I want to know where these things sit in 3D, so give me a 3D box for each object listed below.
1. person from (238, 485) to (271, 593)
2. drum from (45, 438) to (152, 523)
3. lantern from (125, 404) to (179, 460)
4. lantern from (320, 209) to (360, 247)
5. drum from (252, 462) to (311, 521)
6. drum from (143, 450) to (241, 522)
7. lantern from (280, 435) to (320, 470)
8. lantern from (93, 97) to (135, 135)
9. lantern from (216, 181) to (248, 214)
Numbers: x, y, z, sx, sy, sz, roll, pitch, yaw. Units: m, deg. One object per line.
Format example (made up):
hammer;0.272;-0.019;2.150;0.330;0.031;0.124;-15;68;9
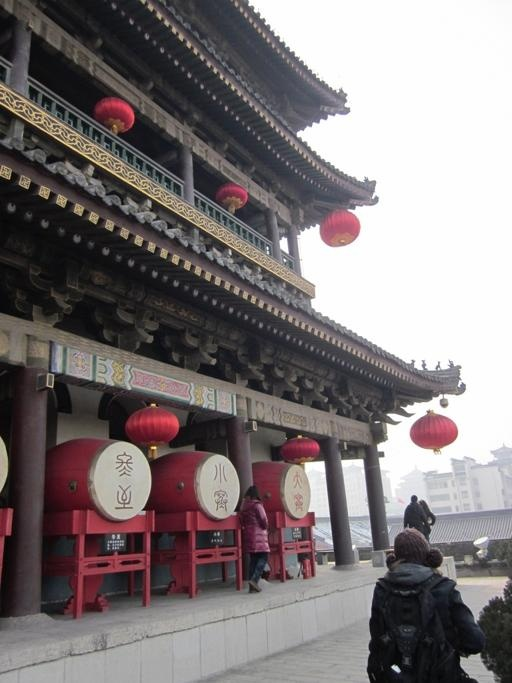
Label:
person;-0.012;2.419;7.476;0.427;1.148;0.346;5;-5;3
drum;-1.606;1.384;6.045;1.048;0.858;0.586;-2;-16;-10
lantern;-1.295;1.030;7.141;0.704;0.696;0.660;2;-6;-25
lantern;1.653;-2.383;12.148;0.775;0.819;0.611;-11;-17;19
drum;0.389;2.139;9.053;1.115;0.721;0.847;0;4;27
drum;-0.761;1.737;7.250;1.065;0.862;0.650;-5;-16;-2
lantern;0.800;1.835;10.210;0.580;0.449;0.581;-2;-4;-38
lantern;-2.019;-3.238;8.688;0.531;0.510;0.518;15;-38;-29
lantern;-0.459;-2.675;11.424;0.585;0.524;0.564;2;-28;-5
